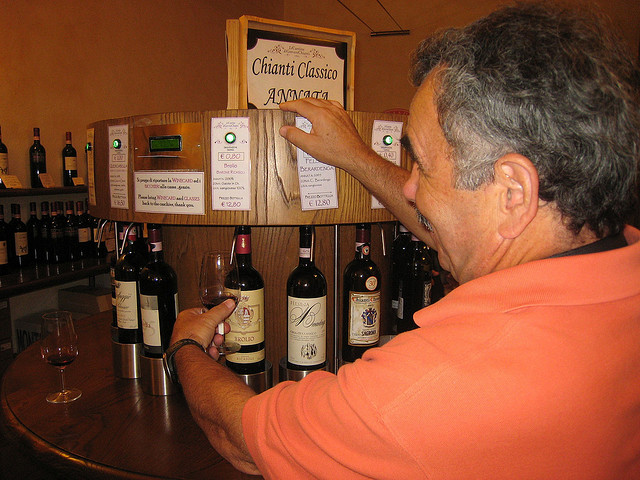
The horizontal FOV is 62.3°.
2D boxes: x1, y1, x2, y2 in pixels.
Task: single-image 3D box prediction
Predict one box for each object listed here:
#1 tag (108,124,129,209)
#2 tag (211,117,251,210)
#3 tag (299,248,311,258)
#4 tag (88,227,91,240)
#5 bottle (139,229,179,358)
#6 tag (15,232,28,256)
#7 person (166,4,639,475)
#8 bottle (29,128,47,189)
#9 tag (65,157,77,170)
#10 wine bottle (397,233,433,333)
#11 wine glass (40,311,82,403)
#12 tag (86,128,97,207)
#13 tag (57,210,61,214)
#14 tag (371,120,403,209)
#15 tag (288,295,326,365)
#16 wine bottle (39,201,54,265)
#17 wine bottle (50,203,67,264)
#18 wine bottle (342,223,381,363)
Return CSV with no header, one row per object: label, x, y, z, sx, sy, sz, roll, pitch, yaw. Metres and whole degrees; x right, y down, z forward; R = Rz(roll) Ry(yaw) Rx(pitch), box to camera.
tag,-0.560,-0.205,1.477,0.105,0.250,0.019,-2,1,45
tag,-0.231,-0.202,1.379,0.104,0.249,0.021,-1,-7,-7
tag,-0.042,0.033,1.478,0.024,0.025,0.025,3,2,-24
tag,-1.515,-0.048,3.483,0.008,0.084,0.060,-4,1,-16
bottle,-0.467,0.156,1.542,0.097,0.419,0.093,1,16,0
tag,-1.723,0.019,3.058,0.064,0.151,0.107,-4,1,-31
person,0.144,-0.019,1.461,1.040,1.201,0.706,-1,0,6
bottle,-1.697,-0.495,3.184,0.086,0.401,0.186,-4,1,-29
tag,-1.594,-0.498,3.392,0.067,0.085,0.072,-1,11,-8
wine bottle,0.311,0.119,1.792,0.113,0.463,0.117,-2,22,1
wine glass,-0.776,0.334,1.584,0.101,0.282,0.340,-4,2,-25
tag,-0.696,-0.238,1.613,0.027,0.232,0.028,-14,-15,35
tag,-1.608,-0.179,3.260,0.014,0.018,0.015,2,-3,-12
tag,0.188,-0.212,1.495,0.103,0.272,0.023,2,-8,6
tag,-0.037,0.253,1.476,0.110,0.182,0.060,-4,1,-5
wine bottle,-1.699,-0.044,3.285,0.088,0.392,0.095,1,5,0
wine bottle,-1.618,-0.046,3.292,0.058,0.412,0.130,-3,1,5
wine bottle,0.123,0.153,1.594,0.113,0.440,0.123,1,19,0
